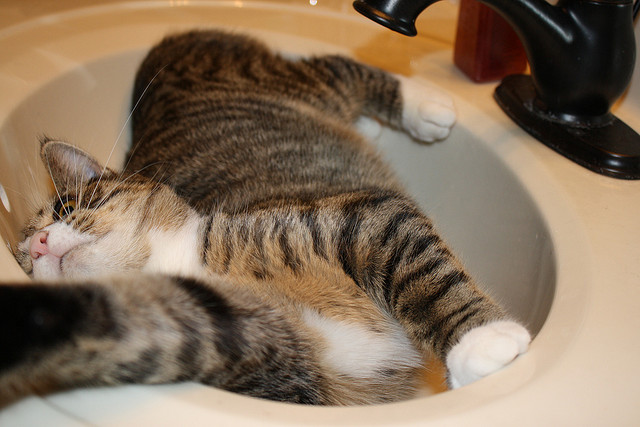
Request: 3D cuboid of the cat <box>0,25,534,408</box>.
[{"bbox_3d":[-0.120,-0.061,1.120,0.765,0.301,0.840,-8,62,-5],"label":"cat"}]
